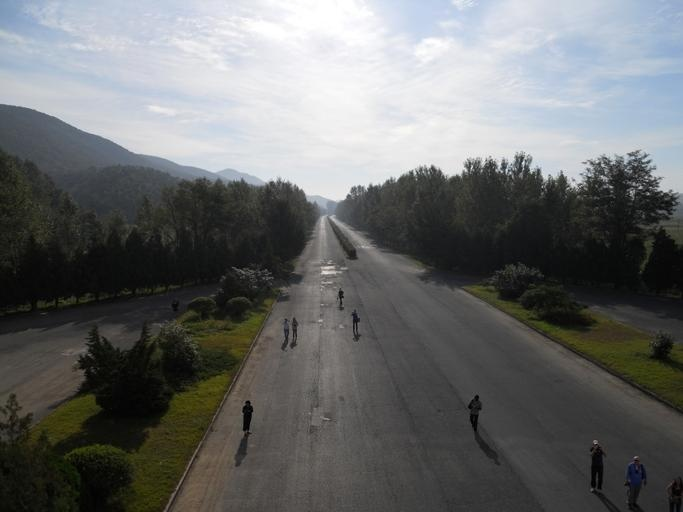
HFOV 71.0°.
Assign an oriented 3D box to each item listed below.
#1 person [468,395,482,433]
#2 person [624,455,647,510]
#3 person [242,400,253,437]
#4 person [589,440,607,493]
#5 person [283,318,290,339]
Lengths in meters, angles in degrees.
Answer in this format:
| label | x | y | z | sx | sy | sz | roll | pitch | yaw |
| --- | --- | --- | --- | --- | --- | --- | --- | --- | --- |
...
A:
| label | x | y | z | sx | sy | sz | roll | pitch | yaw |
| --- | --- | --- | --- | --- | --- | --- | --- | --- | --- |
| person | 7.256 | 8.354 | 25.941 | 0.555 | 1.858 | 1.490 | 1 | 10 | 15 |
| person | 13.352 | 10.262 | 21.703 | 1.159 | 2.165 | 0.673 | -10 | 12 | -41 |
| person | -5.102 | 8.508 | 25.594 | 0.560 | 1.689 | 1.159 | -4 | 10 | -15 |
| person | 11.955 | 9.884 | 22.259 | 0.508 | 2.110 | 0.677 | 3 | 10 | 26 |
| person | -4.269 | 5.582 | 37.180 | 0.450 | 1.644 | 1.674 | -3 | 10 | -9 |
